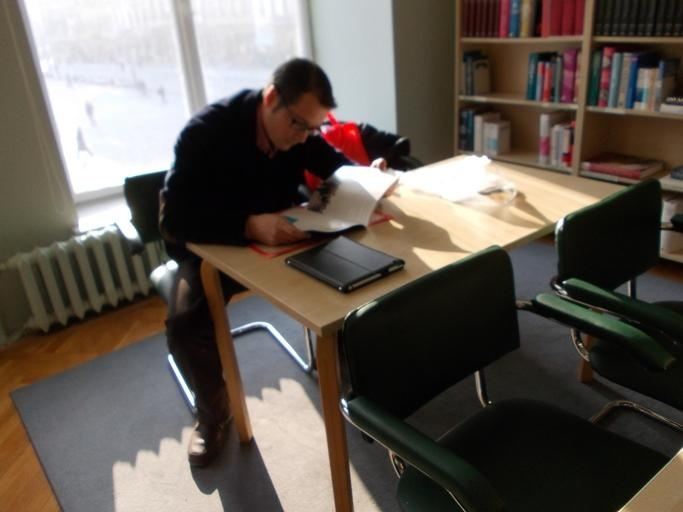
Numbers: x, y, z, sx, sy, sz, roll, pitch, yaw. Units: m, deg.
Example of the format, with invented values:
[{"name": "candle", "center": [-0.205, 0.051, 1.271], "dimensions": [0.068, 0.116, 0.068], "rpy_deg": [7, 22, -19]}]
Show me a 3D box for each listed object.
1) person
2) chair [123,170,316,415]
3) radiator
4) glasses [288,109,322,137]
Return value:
[{"name": "person", "center": [-0.324, -0.084, 2.362], "dimensions": [0.992, 1.560, 0.793], "rpy_deg": [-10, 28, -28]}, {"name": "chair", "center": [-0.510, 0.177, 2.204], "dimensions": [0.649, 1.002, 0.620], "rpy_deg": [-22, 38, -32]}, {"name": "radiator", "center": [-1.462, 0.068, 3.006], "dimensions": [0.726, 0.628, 0.226], "rpy_deg": [-27, 18, -17]}, {"name": "glasses", "center": [-0.165, -0.521, 2.014], "dimensions": [0.073, 0.083, 0.022], "rpy_deg": [8, -4, -45]}]
